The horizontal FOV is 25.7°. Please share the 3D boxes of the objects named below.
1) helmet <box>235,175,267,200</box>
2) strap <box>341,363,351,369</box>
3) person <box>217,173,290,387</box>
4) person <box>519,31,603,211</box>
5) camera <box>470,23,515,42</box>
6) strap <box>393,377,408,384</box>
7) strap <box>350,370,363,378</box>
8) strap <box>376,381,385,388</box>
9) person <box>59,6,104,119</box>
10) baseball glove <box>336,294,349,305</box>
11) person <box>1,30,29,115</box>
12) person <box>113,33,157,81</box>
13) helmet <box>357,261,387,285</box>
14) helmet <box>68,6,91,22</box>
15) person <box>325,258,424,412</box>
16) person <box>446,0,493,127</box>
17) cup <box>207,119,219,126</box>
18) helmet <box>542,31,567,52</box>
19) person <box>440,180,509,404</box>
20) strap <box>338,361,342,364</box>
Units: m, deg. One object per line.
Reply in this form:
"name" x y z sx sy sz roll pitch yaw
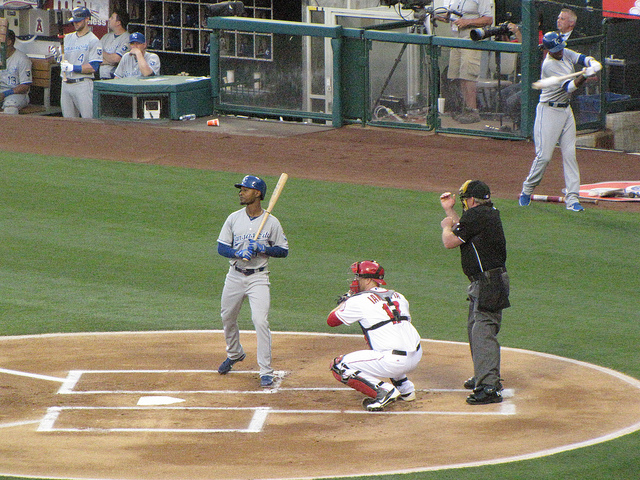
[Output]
"helmet" -0.768 -0.616 16.114 0.416 0.178 0.253 11 2 -14
"strap" 0.297 1.404 15.589 0.074 0.017 0.048 23 37 12
"person" -0.775 0.449 16.254 0.796 2.401 1.007 1 11 -3
"person" 3.480 -1.727 20.428 1.007 2.621 0.936 3 12 7
"camera" 2.867 -3.553 23.834 1.010 0.250 0.253 -10 17 -34
"strap" 0.910 1.581 15.736 0.110 0.047 0.069 -21 12 2
"strap" 0.407 1.493 15.557 0.101 0.029 0.066 -20 5 -11
"strap" 0.681 1.600 15.582 0.019 0.026 0.158 -13 2 18
"person" -4.462 -3.369 26.471 0.789 2.079 0.820 0 12 -9
"baseball glove" 0.252 0.672 15.841 0.121 0.039 0.084 -30 2 9
"person" -5.977 -3.321 27.378 0.526 1.616 0.734 4 12 12
"person" -3.465 -3.460 26.455 0.811 0.744 0.379 0 11 -7
"helmet" 0.594 0.352 15.813 0.349 0.205 0.227 19 13 18
"helmet" -4.491 -4.281 26.442 0.283 0.263 0.328 -1 10 -12
"person" 0.619 1.081 15.669 1.008 1.631 0.564 3 12 8
"person" 2.592 -3.123 24.626 0.763 2.257 1.087 3 11 6
"cup" -1.955 -2.197 25.791 0.236 0.136 0.130 -2 51 6
"helmet" 3.383 -2.893 20.324 0.306 0.281 0.284 3 10 6
"person" 1.793 0.576 15.750 0.725 2.469 0.919 -4 13 -24
"strap" 0.229 1.372 15.639 0.009 0.033 0.043 -10 14 -43
